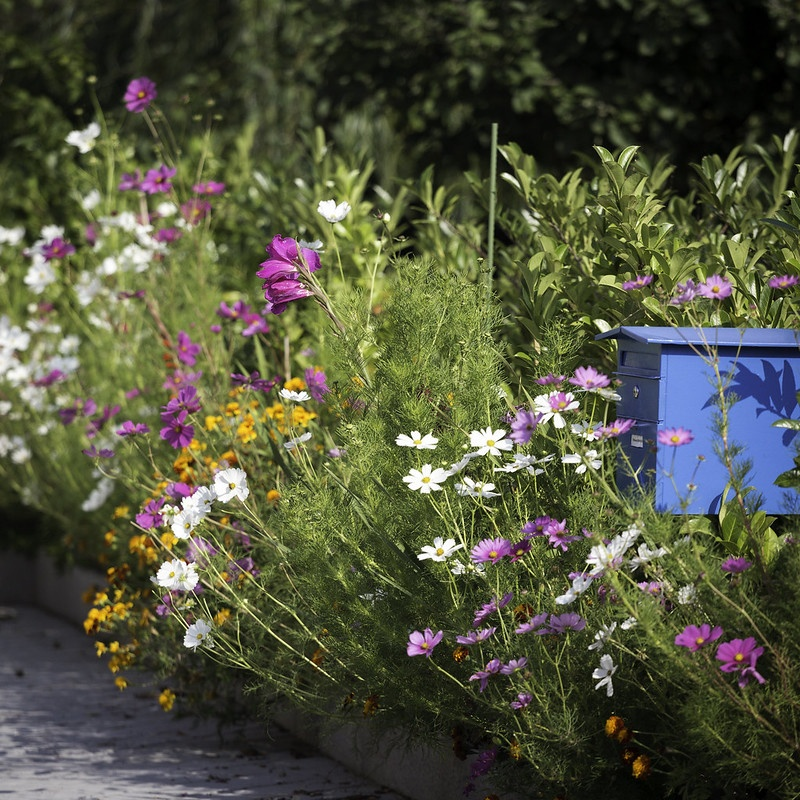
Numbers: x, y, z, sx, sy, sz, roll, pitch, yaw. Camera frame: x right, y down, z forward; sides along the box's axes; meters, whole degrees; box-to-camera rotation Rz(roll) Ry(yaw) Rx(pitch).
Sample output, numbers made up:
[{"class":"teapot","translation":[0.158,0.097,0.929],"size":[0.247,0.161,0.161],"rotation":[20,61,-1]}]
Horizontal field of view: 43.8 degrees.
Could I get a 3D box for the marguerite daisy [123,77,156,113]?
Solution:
[{"class":"marguerite daisy","translation":[-0.941,-1.103,3.658],"size":[0.133,0.155,0.042],"rotation":[0,-2,6]}]
